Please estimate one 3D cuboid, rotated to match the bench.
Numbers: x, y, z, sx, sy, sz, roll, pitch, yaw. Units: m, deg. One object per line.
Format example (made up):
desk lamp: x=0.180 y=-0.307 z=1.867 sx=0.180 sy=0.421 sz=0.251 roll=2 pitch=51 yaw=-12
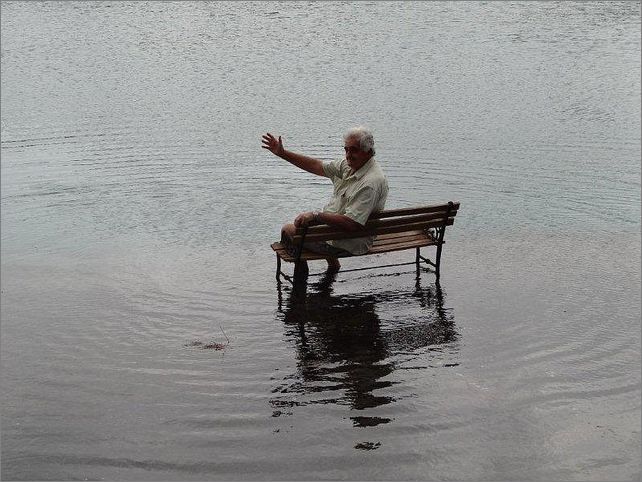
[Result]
bench: x=0.545 y=0.054 z=10.524 sx=2.394 sy=0.771 sz=0.706 roll=-7 pitch=92 yaw=-30
